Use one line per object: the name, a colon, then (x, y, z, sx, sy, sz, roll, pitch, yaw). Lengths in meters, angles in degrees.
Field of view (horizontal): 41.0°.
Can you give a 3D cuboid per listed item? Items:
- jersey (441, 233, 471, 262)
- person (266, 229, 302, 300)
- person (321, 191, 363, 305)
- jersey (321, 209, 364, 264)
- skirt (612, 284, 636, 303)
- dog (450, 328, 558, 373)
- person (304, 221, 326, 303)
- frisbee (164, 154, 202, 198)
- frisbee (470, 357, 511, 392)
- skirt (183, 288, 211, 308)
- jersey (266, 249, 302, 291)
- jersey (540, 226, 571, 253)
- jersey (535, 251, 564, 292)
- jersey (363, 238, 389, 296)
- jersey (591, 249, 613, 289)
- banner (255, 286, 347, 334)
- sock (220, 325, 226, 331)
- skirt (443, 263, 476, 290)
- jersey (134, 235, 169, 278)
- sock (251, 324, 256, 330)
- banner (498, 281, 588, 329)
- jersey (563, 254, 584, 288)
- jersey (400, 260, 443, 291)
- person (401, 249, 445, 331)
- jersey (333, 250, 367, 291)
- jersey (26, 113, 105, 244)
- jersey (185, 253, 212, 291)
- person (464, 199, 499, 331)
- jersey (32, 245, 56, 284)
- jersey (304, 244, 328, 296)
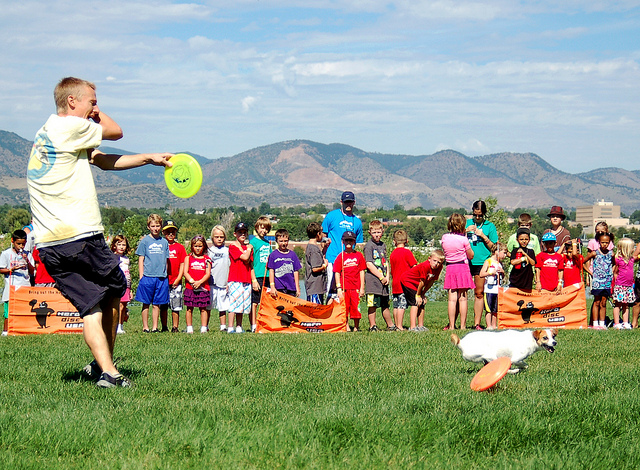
jersey: (2.475, 0.181, 15.751, 0.557, 0.570, 0.354, 2, 22, 18)
person: (-0.676, 0.529, 16.033, 0.633, 1.313, 1.045, 0, 5, -2)
person: (0.433, 0.368, 16.477, 0.868, 2.461, 0.714, -1, 24, -8)
jersey: (0.411, 0.048, 16.144, 0.831, 1.025, 0.349, 6, -10, -16)
skirt: (5.746, 1.089, 16.284, 0.485, 0.491, 0.290, 4, 6, 16)
dog: (2.205, 1.371, 10.259, 1.221, 0.555, 0.423, 0, -3, 6)
person: (-0.078, 0.522, 16.068, 0.376, 1.536, 0.652, 0, 5, 0)
frisbee: (-1.764, -0.773, 10.916, 0.479, 0.583, 0.087, 1, 28, -3)
frisbee: (1.891, 1.566, 9.500, 0.431, 0.391, 0.435, 0, 5, -2)
skirt: (-2.355, 1.190, 16.446, 0.527, 0.373, 0.255, -1, 5, -11)
jersey: (-0.701, 0.643, 16.017, 0.747, 0.923, 0.329, -1, 1, -23)
jersey: (4.657, 0.090, 16.917, 0.554, 0.586, 0.308, 11, -15, 26)
jersey: (4.378, 0.691, 16.421, 0.645, 0.924, 0.320, 1, -6, -2)
jersey: (1.058, 0.599, 16.209, 0.487, 1.128, 0.629, 1, 5, 3)
jersey: (5.499, 0.793, 16.544, 0.465, 1.118, 0.282, 0, 9, 17)
banner: (-0.341, 1.378, 15.597, 1.634, 0.756, 0.292, 0, 5, -2)
sock: (-1.897, 1.811, 16.813, 0.123, 0.149, 0.130, 0, -7, 0)
skirt: (2.548, 0.749, 15.605, 0.569, 0.502, 0.428, 0, -13, -1)
jersey: (-3.056, 0.384, 15.984, 0.652, 0.777, 0.296, 1, 5, -8)
sock: (-1.284, 1.766, 16.469, 0.104, 0.087, 0.110, 0, -6, -1)
banner: (4.186, 1.326, 16.128, 1.669, 0.814, 0.283, 0, 5, -3)
jersey: (4.879, 0.610, 16.707, 0.507, 0.371, 1.253, 2, -37, 18)
jersey: (1.828, 0.598, 15.636, 0.467, 0.781, 0.453, 3, 42, -25)
person: (1.918, 1.031, 16.025, 0.764, 1.688, 1.729, 1, 5, 8)
jersey: (0.585, 0.612, 15.973, 0.665, 0.785, 0.284, -1, 25, 9)
jersey: (-2.807, -0.629, 9.454, 0.780, 1.434, 0.631, -2, 5, -22)
jersey: (-2.337, 0.687, 16.379, 0.620, 0.720, 0.375, 2, -4, -18)
person: (3.006, 0.527, 16.044, 0.481, 2.312, 0.784, 4, 6, 36)
jersey: (-5.062, 0.565, 15.671, 0.360, 0.703, 1.122, -1, 5, -16)
jersey: (-0.064, 0.633, 16.009, 0.449, 1.040, 0.887, -2, 3, -4)
